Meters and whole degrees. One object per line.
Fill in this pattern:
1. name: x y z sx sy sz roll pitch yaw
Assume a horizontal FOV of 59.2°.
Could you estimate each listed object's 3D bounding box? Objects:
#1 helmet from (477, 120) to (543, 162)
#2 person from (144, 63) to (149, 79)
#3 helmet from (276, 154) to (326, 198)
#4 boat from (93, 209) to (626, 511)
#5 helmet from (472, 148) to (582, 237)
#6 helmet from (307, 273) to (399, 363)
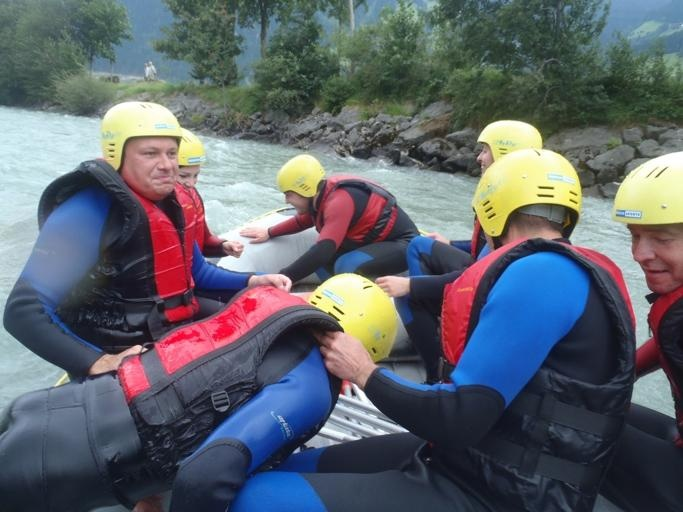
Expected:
1. helmet: 1.285 -0.854 4.695 0.500 0.360 0.362 2 9 23
2. person: -13.140 -12.542 40.964 0.285 1.037 0.878 -1 19 -14
3. helmet: -0.372 -0.751 5.574 0.435 0.363 0.338 -21 27 5
4. boat: 0.054 0.547 2.992 1.414 0.471 2.322 2 12 8
5. helmet: 0.906 -0.320 3.037 0.387 0.385 0.497 6 6 -22
6. helmet: 0.117 0.301 3.396 0.456 0.515 0.388 -17 25 12
